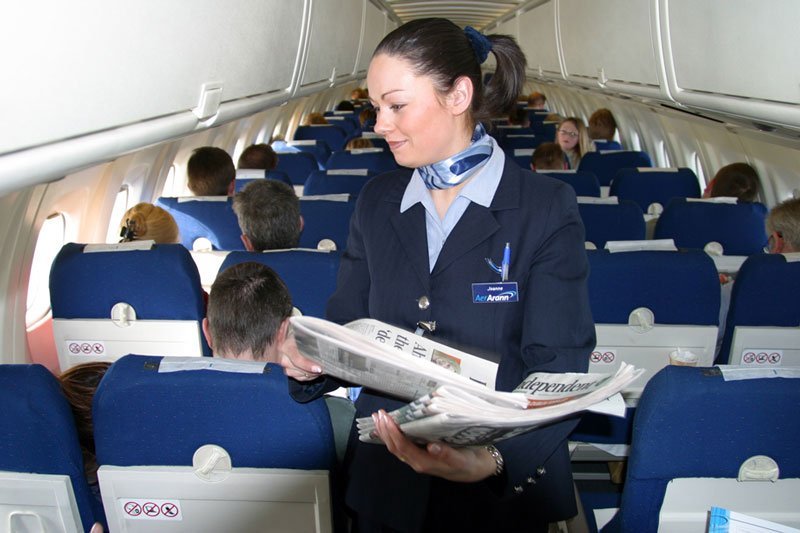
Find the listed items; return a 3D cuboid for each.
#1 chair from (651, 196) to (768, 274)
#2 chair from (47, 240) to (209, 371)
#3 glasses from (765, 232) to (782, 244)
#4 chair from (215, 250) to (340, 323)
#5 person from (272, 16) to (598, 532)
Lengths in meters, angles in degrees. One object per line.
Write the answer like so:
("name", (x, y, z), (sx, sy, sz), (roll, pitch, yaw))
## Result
("chair", (2.399, -0.316, 5.006), (0.757, 0.737, 0.643), (7, 14, 8))
("chair", (-1.385, 0.119, 3.733), (0.617, 0.895, 0.824), (1, 20, 0))
("glasses", (2.376, -0.174, 4.086), (0.087, 0.063, 0.119), (1, 7, 10))
("chair", (-0.670, 0.044, 3.636), (0.469, 0.614, 0.504), (1, 7, -2))
("person", (0.180, 0.105, 2.375), (1.026, 2.049, 0.686), (-1, 3, 15))
